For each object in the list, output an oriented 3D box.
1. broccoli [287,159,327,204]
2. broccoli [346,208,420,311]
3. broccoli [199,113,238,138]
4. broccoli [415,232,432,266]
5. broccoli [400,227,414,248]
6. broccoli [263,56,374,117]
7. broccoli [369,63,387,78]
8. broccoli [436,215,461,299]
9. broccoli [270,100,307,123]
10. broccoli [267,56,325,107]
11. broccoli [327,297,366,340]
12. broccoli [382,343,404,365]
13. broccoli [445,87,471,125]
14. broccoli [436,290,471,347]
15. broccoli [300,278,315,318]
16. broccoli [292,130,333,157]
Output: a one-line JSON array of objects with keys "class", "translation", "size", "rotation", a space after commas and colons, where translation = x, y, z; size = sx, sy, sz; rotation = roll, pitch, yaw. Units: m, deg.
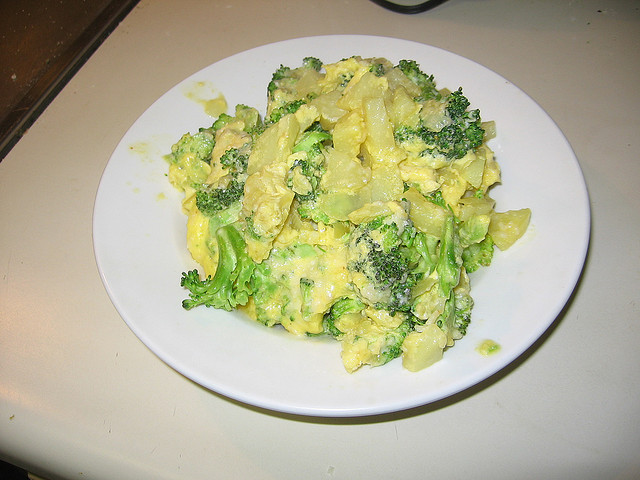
[{"class": "broccoli", "translation": [-0.082, -0.320, 3.169], "size": [0.197, 0.069, 0.226], "rotation": [-8, 79, 2]}, {"class": "broccoli", "translation": [0.351, 0.118, 3.008], "size": [0.393, 0.196, 0.496], "rotation": [-19, 79, -2]}, {"class": "broccoli", "translation": [-0.638, -0.737, 3.575], "size": [0.172, 0.057, 0.173], "rotation": [32, 78, 33]}, {"class": "broccoli", "translation": [0.560, 0.044, 3.109], "size": [0.076, 0.047, 0.183], "rotation": [-13, 74, 21]}, {"class": "broccoli", "translation": [0.454, -0.017, 3.004], "size": [0.085, 0.025, 0.086], "rotation": [-2, 98, -35]}, {"class": "broccoli", "translation": [0.007, -0.878, 3.662], "size": [0.527, 0.161, 0.449], "rotation": [-13, 50, 9]}, {"class": "broccoli", "translation": [0.346, -1.038, 3.475], "size": [0.108, 0.029, 0.107], "rotation": [-11, 70, -30]}, {"class": "broccoli", "translation": [0.688, 0.085, 3.004], "size": [0.121, 0.118, 0.409], "rotation": [7, 73, -3]}, {"class": "broccoli", "translation": [-0.186, -0.776, 3.396], "size": [0.194, 0.045, 0.113], "rotation": [-35, 37, -3]}, {"class": "broccoli", "translation": [-0.162, -1.059, 3.735], "size": [0.432, 0.446, 0.117], "rotation": [-28, 96, -47]}, {"class": "broccoli", "translation": [0.124, 0.417, 3.192], "size": [0.180, 0.061, 0.237], "rotation": [20, 96, 12]}, {"class": "broccoli", "translation": [0.377, 0.594, 3.023], "size": [0.108, 0.037, 0.063], "rotation": [-34, 87, -23]}, {"class": "broccoli", "translation": [0.766, -0.760, 3.160], "size": [0.138, 0.084, 0.061], "rotation": [11, 62, -16]}, {"class": "broccoli", "translation": [0.692, 0.429, 3.001], "size": [0.112, 0.246, 0.244], "rotation": [38, 30, -20]}, {"class": "broccoli", "translation": [-0.070, 0.314, 3.179], "size": [0.102, 0.042, 0.158], "rotation": [4, 89, 15]}, {"class": "broccoli", "translation": [-0.048, -0.555, 3.246], "size": [0.238, 0.118, 0.113], "rotation": [-40, 81, -6]}]
